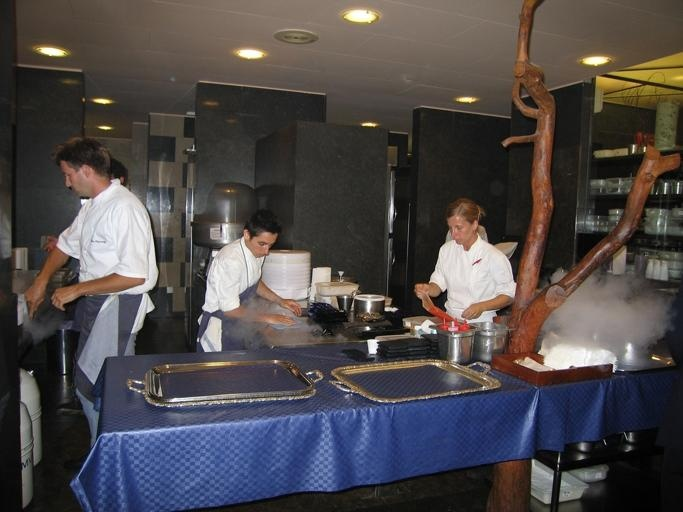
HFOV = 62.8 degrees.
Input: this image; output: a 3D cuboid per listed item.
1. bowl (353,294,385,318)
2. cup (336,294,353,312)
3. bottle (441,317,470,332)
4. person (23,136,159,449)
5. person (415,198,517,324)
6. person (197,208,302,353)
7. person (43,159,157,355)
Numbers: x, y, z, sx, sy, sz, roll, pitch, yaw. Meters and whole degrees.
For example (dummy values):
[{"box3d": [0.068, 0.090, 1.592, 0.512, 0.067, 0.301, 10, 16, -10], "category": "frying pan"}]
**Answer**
[{"box3d": [0.163, 0.314, 3.541, 0.149, 0.090, 0.150, 0, 4, 0], "category": "bowl"}, {"box3d": [0.030, 0.305, 3.631, 0.114, 0.116, 0.132, -3, 13, -7], "category": "cup"}, {"box3d": [0.548, 0.329, 2.664, 0.137, 0.044, 0.211, 2, 13, 12], "category": "bottle"}, {"box3d": [-1.391, 0.318, 3.251, 0.690, 1.960, 1.048, -11, 16, -35], "category": "person"}, {"box3d": [0.790, 0.055, 3.434, 0.535, 0.796, 0.900, 3, 14, 17], "category": "person"}, {"box3d": [-0.581, 0.154, 3.624, 0.694, 1.317, 0.563, 4, 29, -2], "category": "person"}, {"box3d": [-1.929, -0.190, 4.325, 0.854, 1.094, 0.641, 6, 7, -24], "category": "person"}]
